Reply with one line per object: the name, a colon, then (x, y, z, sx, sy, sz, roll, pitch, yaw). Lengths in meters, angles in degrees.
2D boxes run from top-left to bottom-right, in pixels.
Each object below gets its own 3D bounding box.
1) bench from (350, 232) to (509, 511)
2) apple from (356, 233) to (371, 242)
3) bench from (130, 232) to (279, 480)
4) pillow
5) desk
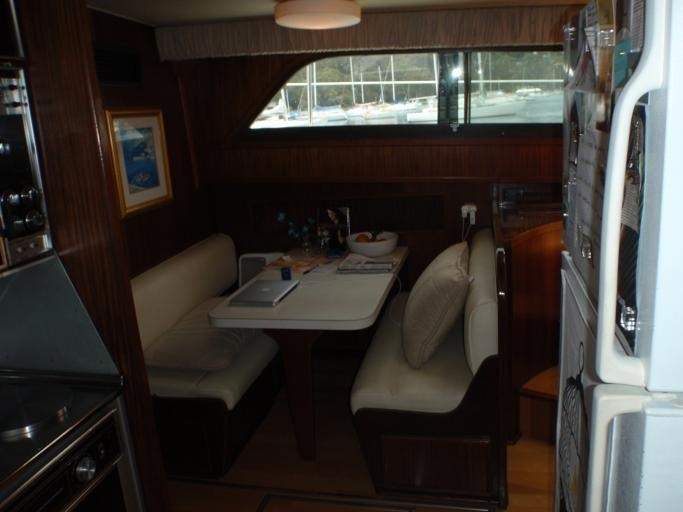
bench: (0.464, 0.510, 2.754, 0.766, 1.214, 0.775, 0, 14, 10)
apple: (0.152, -0.137, 3.664, 0.061, 0.041, 0.066, 8, 21, 24)
bench: (-0.771, 0.578, 2.853, 0.464, 0.661, 1.144, 1, 19, 4)
pillow: (0.588, 0.213, 3.118, 0.410, 0.467, 1.155, -4, 11, 15)
desk: (-0.158, 0.788, 3.120, 0.738, 0.827, 1.615, 0, 23, 6)
